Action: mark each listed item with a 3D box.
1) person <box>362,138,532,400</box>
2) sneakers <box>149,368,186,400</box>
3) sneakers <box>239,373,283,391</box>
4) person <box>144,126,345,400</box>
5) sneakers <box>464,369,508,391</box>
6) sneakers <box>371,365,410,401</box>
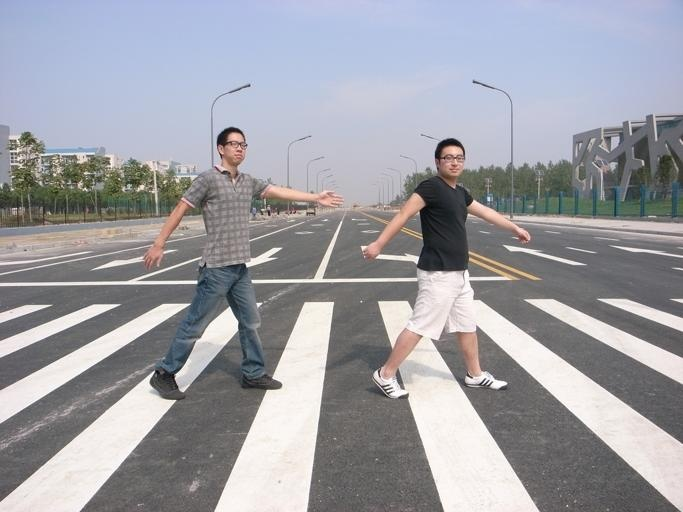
[{"bbox_3d":[0.925,0.261,4.673,1.487,2.040,0.557,-2,7,-13],"label":"person"},{"bbox_3d":[-1.667,1.185,4.631,0.413,0.271,0.208,1,7,14],"label":"sneakers"},{"bbox_3d":[-0.789,1.208,4.748,0.381,0.163,0.152,1,0,-2],"label":"sneakers"},{"bbox_3d":[-1.093,0.029,4.691,1.042,2.528,1.286,5,9,40],"label":"person"},{"bbox_3d":[1.400,1.198,4.715,0.419,0.180,0.161,0,-2,1],"label":"sneakers"},{"bbox_3d":[0.448,1.207,4.634,0.412,0.196,0.163,37,3,13],"label":"sneakers"}]
